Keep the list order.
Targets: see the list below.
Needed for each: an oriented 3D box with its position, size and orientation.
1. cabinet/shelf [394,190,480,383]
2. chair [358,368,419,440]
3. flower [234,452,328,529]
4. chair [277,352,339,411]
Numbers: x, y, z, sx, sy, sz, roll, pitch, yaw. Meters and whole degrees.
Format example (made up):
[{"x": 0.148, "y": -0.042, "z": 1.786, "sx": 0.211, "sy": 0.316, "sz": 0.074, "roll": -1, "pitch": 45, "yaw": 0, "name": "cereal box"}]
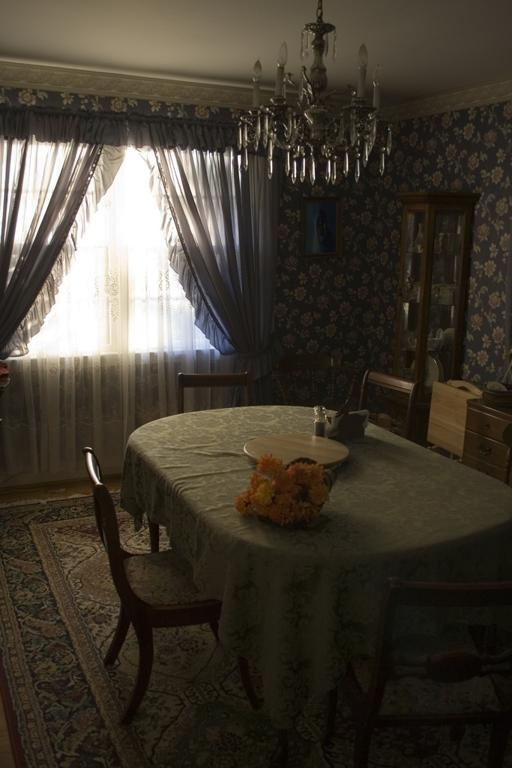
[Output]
[{"x": 1.263, "y": -0.670, "z": 4.072, "sx": 0.549, "sy": 1.341, "sz": 0.370, "roll": 1, "pitch": 8, "yaw": 16, "name": "cabinet/shelf"}, {"x": 0.852, "y": 0.116, "z": 3.661, "sx": 0.181, "sy": 0.442, "sz": 0.429, "roll": -9, "pitch": 16, "yaw": -26, "name": "chair"}, {"x": 0.061, "y": 0.255, "z": 1.564, "sx": 0.182, "sy": 0.126, "sz": 0.212, "roll": -9, "pitch": 23, "yaw": -10, "name": "flower"}, {"x": 0.414, "y": -0.044, "z": 4.574, "sx": 0.376, "sy": 0.655, "sz": 0.437, "roll": 1, "pitch": 20, "yaw": 4, "name": "chair"}]
